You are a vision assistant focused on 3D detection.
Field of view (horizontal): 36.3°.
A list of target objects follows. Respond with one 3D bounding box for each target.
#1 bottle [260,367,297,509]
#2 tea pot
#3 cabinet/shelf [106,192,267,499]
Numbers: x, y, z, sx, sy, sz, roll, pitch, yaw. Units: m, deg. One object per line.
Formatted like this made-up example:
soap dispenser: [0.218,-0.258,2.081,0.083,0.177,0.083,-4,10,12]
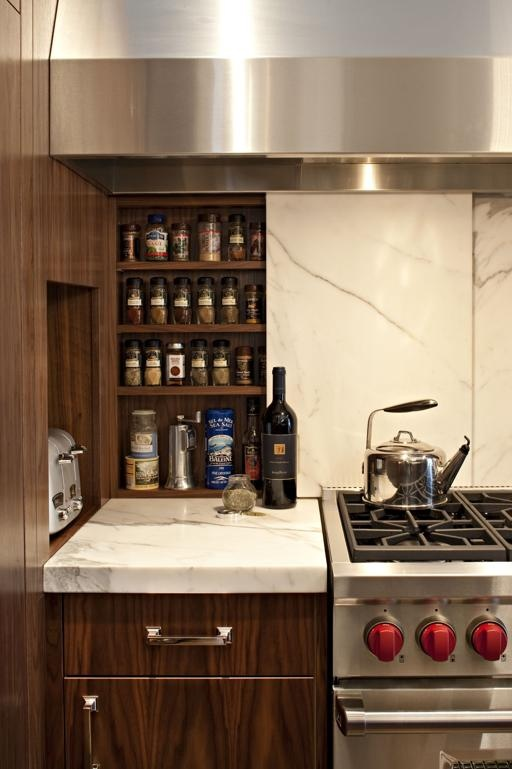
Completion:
bottle: [0.050,0.121,1.710,0.077,0.315,0.080,-2,3,0]
tea pot: [0.329,0.146,1.655,0.204,0.225,0.177,0,-1,14]
cabinet/shelf: [-0.186,-0.225,1.861,0.299,0.545,0.168,2,1,23]
